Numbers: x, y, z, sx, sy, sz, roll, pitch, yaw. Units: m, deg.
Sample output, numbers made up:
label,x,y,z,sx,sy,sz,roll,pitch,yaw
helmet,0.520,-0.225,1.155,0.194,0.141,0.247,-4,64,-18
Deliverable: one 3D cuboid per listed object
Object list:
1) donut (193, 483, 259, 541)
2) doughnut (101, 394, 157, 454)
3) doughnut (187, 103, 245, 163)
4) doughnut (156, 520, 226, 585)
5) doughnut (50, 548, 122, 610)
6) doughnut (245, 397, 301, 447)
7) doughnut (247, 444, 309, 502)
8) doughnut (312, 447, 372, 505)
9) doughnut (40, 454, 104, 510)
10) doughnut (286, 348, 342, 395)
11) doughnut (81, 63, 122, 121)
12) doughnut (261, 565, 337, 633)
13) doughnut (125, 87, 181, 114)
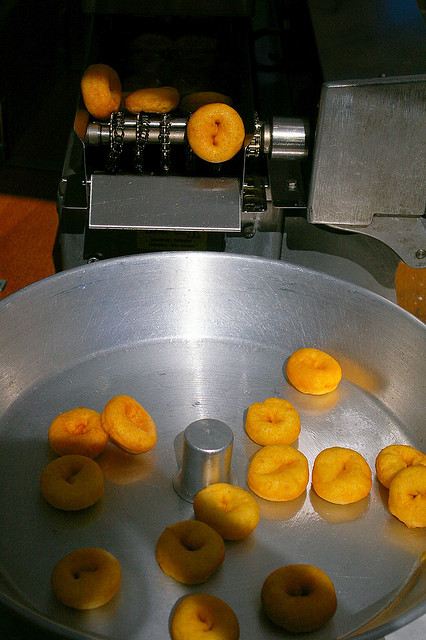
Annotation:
label,x,y,z,sx,sy,sz,roll,pitch,yaw
donut,0.014,0.163,0.513,0.055,0.058,0.024,14,9,7
doughnut,-0.092,0.107,0.595,0.066,0.027,0.068,37,23,-25
doughnut,0.005,-0.240,0.740,0.072,0.073,0.027,-4,9,0
doughnut,-0.023,0.198,0.480,0.066,0.026,0.063,6,7,14
doughnut,-0.101,0.206,0.447,0.045,0.032,0.047,15,25,32
doughnut,0.064,0.113,0.623,0.060,0.025,0.060,-9,37,-23
doughnut,0.065,0.153,0.557,0.059,0.037,0.051,5,21,11
doughnut,0.127,0.155,0.559,0.056,0.036,0.051,-4,22,-13
doughnut,-0.135,0.156,0.534,0.050,0.035,0.051,-18,29,-41
doughnut,0.126,0.064,0.697,0.070,0.039,0.067,1,34,-14
doughnut,-0.159,-0.321,0.794,0.030,0.079,0.081,-9,-6,6
doughnut,0.068,0.219,0.442,0.058,0.028,0.048,-11,24,-29
doughnut,-0.082,-0.316,0.806,0.083,0.037,0.065,-7,23,-21
